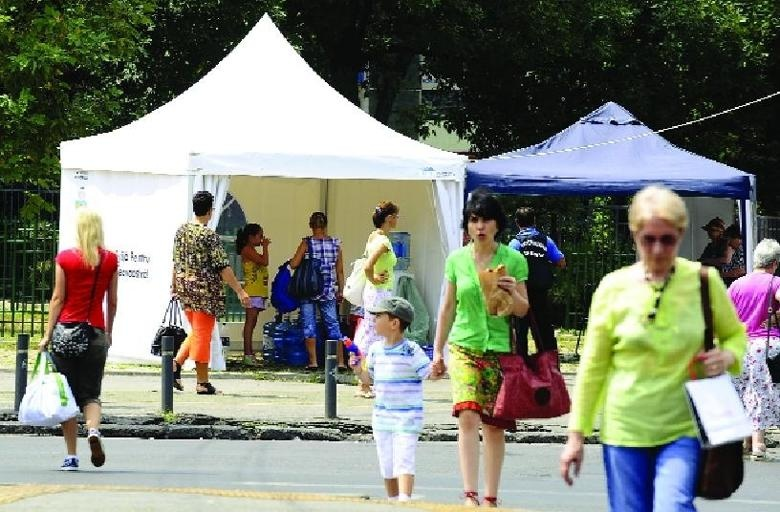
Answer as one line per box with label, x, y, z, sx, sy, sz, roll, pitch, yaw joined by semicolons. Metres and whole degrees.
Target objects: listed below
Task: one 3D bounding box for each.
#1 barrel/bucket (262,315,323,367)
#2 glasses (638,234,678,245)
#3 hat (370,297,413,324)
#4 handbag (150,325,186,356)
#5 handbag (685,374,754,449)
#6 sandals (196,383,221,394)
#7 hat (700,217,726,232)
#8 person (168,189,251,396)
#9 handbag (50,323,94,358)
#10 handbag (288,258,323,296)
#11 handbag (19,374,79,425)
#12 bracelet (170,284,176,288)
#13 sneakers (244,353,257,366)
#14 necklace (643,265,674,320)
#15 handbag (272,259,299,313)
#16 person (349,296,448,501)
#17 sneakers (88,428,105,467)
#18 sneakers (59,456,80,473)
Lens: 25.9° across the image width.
barrel/bucket;-1.658;1.489;29.196;1.363;0.895;0.761;1;0;-3
glasses;2.981;-0.181;18.505;0.358;0.108;0.043;0;-3;1
hat;0.049;0.636;20.890;0.496;0.248;0.345;11;-2;2
handbag;-3.334;1.273;25.741;0.545;0.487;0.258;2;8;1
handbag;3.598;1.671;18.384;0.748;0.726;0.194;-10;-10;-14
sandals;-2.767;2.001;25.915;0.329;0.133;0.166;0;0;-10
hat;5.869;-0.581;30.434;0.387;0.254;0.271;5;-1;8
person;-2.791;0.548;25.604;0.941;3.064;0.970;1;-3;-7
handbag;-4.103;1.062;21.842;0.441;0.408;0.155;1;5;0
handbag;-1.337;0.332;27.804;0.532;0.622;0.312;-4;-15;24
handbag;-4.356;1.841;21.794;0.790;0.867;0.443;-1;0;14
bracelet;-3.325;0.452;26.120;0.055;0.057;0.053;0;6;-7
sneakers;-2.379;1.763;29.160;0.191;0.181;0.182;-1;10;-1
necklace;2.967;0.440;18.529;0.221;0.737;0.146;5;-23;22
handbag;-1.727;0.508;28.896;0.608;0.787;0.270;15;-4;-25
person;0.096;1.693;20.600;0.690;2.401;0.570;-2;-3;37
sneakers;-3.727;2.479;21.703;0.198;0.518;0.245;-10;26;-5
sneakers;-4.129;2.653;21.915;0.247;0.189;0.247;1;-2;-20
